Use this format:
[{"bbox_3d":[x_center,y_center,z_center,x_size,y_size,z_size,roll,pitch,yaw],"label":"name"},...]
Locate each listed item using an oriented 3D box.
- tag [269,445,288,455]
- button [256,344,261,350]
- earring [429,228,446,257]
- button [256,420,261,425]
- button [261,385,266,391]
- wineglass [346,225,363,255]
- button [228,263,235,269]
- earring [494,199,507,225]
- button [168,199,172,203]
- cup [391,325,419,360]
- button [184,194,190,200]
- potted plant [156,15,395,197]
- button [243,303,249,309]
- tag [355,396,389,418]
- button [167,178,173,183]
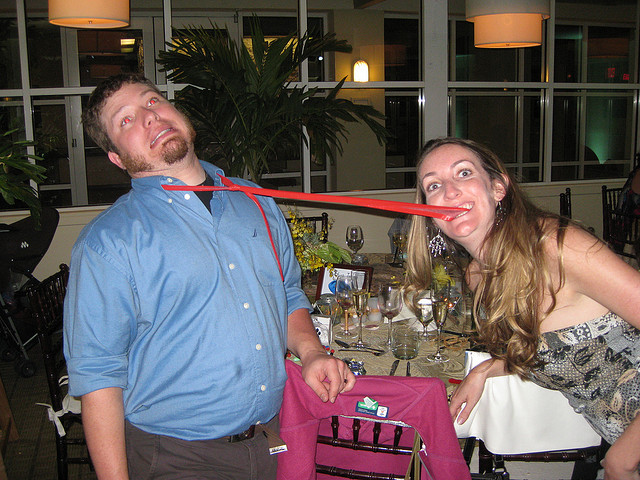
[{"bbox_3d":[-0.135,0.691,1.800,0.058,0.037,0.014,4,13,-7],"label":"tag"},{"bbox_3d":[-0.203,0.350,1.794,0.016,0.016,0.004,-1,-11,-15],"label":"button"},{"bbox_3d":[0.507,0.012,2.309,0.090,0.111,0.038,-7,17,-43],"label":"earring"},{"bbox_3d":[-0.204,0.607,1.817,0.015,0.014,0.005,3,13,-10],"label":"button"},{"bbox_3d":[-0.187,0.486,1.800,0.019,0.019,0.004,-4,-2,-27],"label":"button"},{"bbox_3d":[0.221,0.000,3.511,0.094,0.200,0.169,6,13,2],"label":"wineglass"},{"bbox_3d":[-0.292,0.084,1.804,0.020,0.017,0.012,4,13,-8],"label":"button"},{"bbox_3d":[0.671,-0.096,2.017,0.037,0.071,0.048,11,14,25],"label":"earring"},{"bbox_3d":[-0.496,-0.131,1.809,0.012,0.011,0.005,0,14,-24],"label":"button"},{"bbox_3d":[0.401,0.481,2.568,0.147,0.151,0.163,3,-5,-13],"label":"cup"},{"bbox_3d":[-0.443,-0.145,1.816,0.017,0.018,0.004,1,-4,-14],"label":"button"},{"bbox_3d":[-0.337,-1.234,4.557,1.723,1.785,1.514,9,22,-7],"label":"potted plant"},{"bbox_3d":[-0.242,0.215,1.792,0.015,0.016,0.004,-1,-19,-21],"label":"button"},{"bbox_3d":[0.174,0.552,1.792,0.079,0.064,0.029,14,-4,8],"label":"tag"},{"bbox_3d":[-0.502,-0.200,1.830,0.012,0.012,0.003,14,-40,-9],"label":"button"}]
